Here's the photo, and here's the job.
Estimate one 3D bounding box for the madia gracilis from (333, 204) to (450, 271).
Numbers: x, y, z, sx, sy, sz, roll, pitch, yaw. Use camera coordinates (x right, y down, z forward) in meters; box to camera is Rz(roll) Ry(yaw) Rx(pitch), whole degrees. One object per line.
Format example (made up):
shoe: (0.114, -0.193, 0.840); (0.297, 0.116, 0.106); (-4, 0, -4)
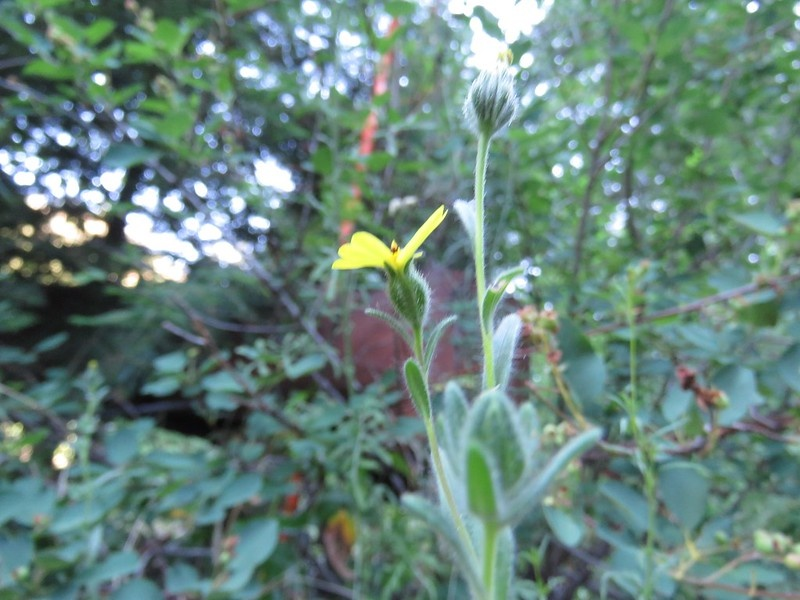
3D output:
madia gracilis: (-0.014, -0.074, 0.964); (0.140, 0.056, 0.156); (8, 25, 35)
